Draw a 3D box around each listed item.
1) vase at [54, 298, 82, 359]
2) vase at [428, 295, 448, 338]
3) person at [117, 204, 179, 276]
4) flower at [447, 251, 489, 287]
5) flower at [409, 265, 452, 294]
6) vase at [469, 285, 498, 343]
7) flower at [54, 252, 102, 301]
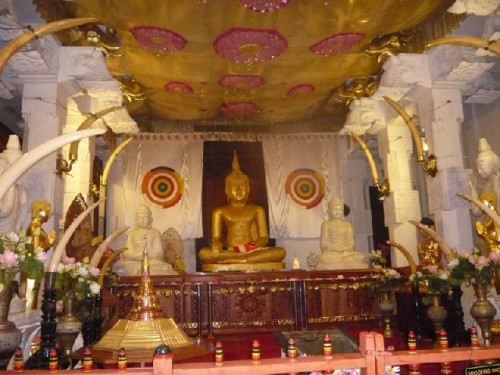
[{"bbox_3d":[-1.319,0.992,2.930,0.156,0.423,0.246,4,-19,-22],"label":"vase"},{"bbox_3d":[1.664,1.126,3.560,0.156,0.365,0.332,-11,-19,22],"label":"vase"},{"bbox_3d":[-1.442,0.744,5.584,1.174,0.919,0.681,0,-20,-6],"label":"person"},{"bbox_3d":[1.746,0.649,3.203,0.369,0.287,0.306,3,-7,4],"label":"flower"},{"bbox_3d":[1.618,0.763,3.546,0.350,0.206,0.353,-4,-9,44],"label":"flower"},{"bbox_3d":[1.865,0.992,3.181,0.204,0.441,0.748,-13,-18,26],"label":"vase"},{"bbox_3d":[-1.322,0.685,3.092,0.393,0.300,0.370,11,-14,-32],"label":"flower"}]
